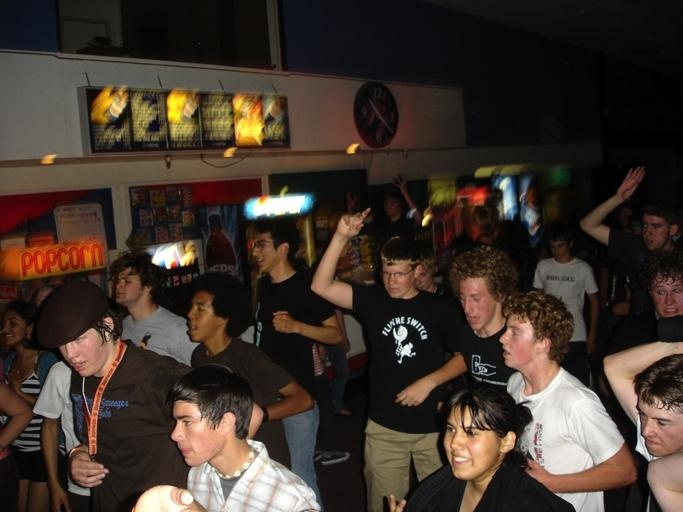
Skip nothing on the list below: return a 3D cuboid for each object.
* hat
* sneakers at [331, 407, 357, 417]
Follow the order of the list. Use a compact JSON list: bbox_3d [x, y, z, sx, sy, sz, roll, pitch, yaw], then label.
[{"bbox_3d":[-1.740,0.303,3.562,0.425,0.302,0.561,6,19,4],"label":"hat"},{"bbox_3d":[0.028,1.990,7.131,0.302,0.118,0.101,0,10,10],"label":"sneakers"}]
